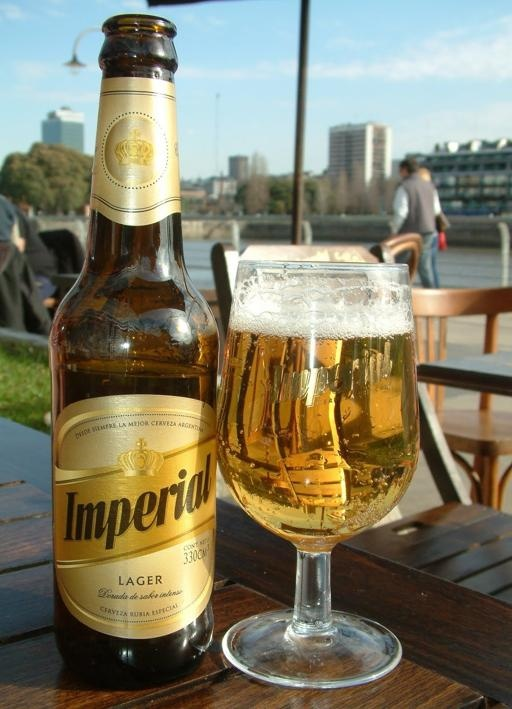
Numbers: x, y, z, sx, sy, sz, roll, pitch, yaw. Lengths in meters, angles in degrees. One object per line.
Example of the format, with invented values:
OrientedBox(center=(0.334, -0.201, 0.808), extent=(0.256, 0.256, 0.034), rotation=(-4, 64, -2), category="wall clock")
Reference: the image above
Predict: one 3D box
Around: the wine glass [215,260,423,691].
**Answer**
OrientedBox(center=(0.048, 0.073, 0.463), extent=(0.153, 0.283, 0.127), rotation=(4, 4, -3), category="wine glass")
